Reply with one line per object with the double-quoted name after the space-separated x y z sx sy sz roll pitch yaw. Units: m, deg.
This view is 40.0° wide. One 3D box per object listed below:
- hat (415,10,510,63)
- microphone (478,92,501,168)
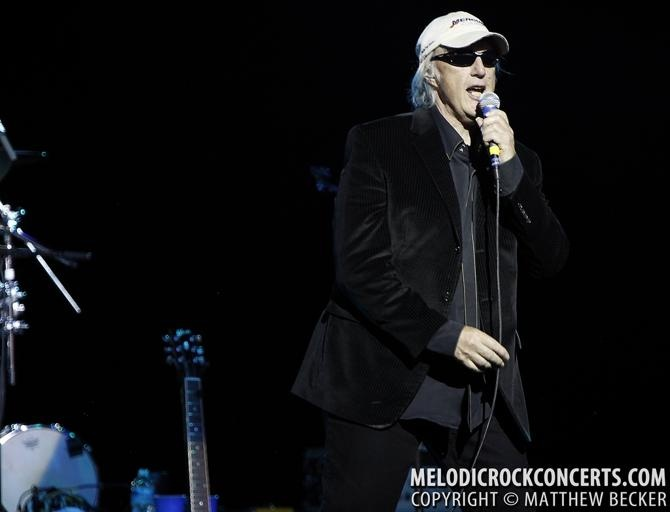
0.570 -1.035 4.330 0.235 0.188 0.327 -3 -12 -43 "hat"
0.688 -0.571 4.132 0.087 0.338 0.085 -3 -23 1 "microphone"
